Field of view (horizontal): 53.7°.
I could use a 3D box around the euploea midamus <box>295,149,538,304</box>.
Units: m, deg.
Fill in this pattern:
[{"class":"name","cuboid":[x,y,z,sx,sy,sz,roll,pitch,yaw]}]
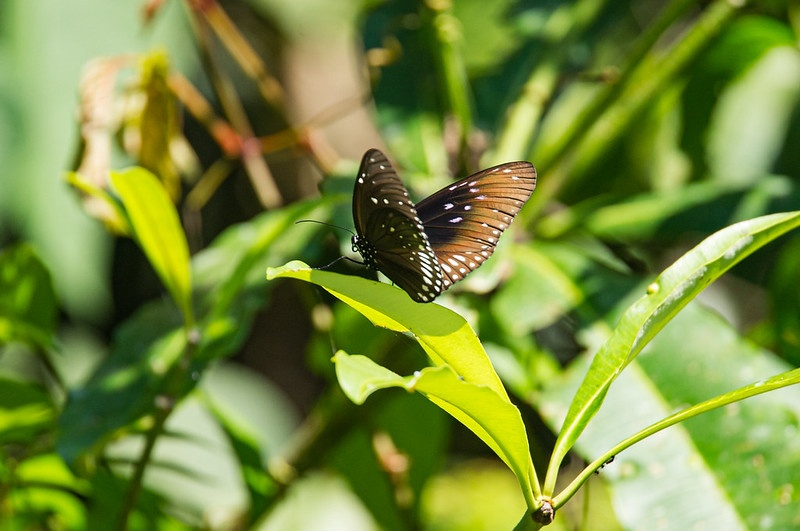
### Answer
[{"class":"euploea midamus","cuboid":[0.021,-0.022,1.216,0.390,0.275,0.212,-7,-28,10]}]
